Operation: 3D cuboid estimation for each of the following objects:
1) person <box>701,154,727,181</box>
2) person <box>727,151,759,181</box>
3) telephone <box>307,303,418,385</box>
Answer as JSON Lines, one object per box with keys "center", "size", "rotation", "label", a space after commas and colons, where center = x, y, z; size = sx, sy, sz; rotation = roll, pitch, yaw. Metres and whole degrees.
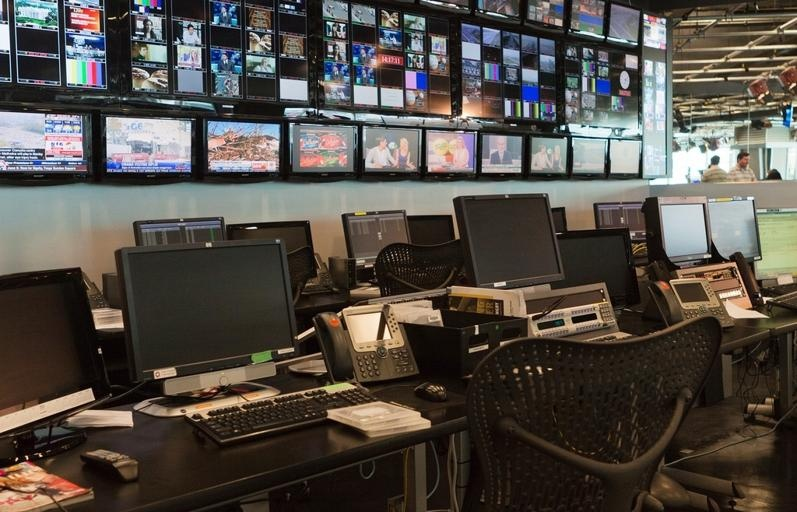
{"center": [5.254, -1.464, 9.735], "size": [0.355, 0.432, 1.137], "rotation": [-2, 5, 28], "label": "person"}
{"center": [5.377, -1.406, 9.199], "size": [0.321, 0.451, 0.806], "rotation": [-2, 6, 30], "label": "person"}
{"center": [-0.143, 0.367, 2.467], "size": [0.458, 0.267, 0.287], "rotation": [-5, 8, -38], "label": "telephone"}
